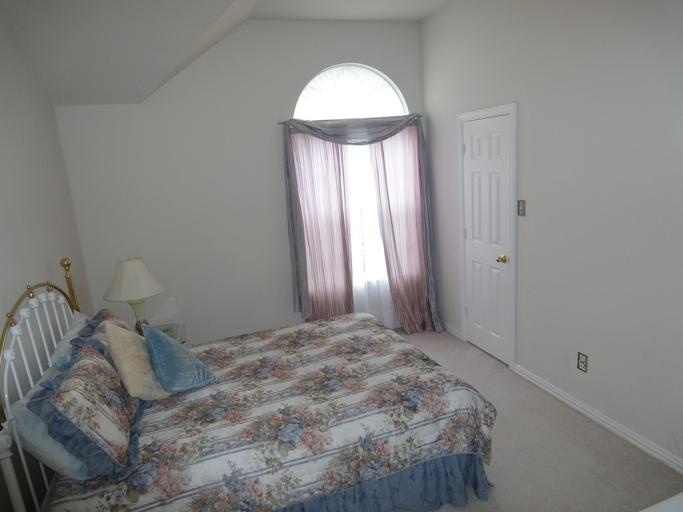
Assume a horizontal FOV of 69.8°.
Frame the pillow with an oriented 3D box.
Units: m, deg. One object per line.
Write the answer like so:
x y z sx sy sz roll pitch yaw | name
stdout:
-1.479 0.839 2.966 0.785 0.655 0.992 -1 13 20 | pillow
